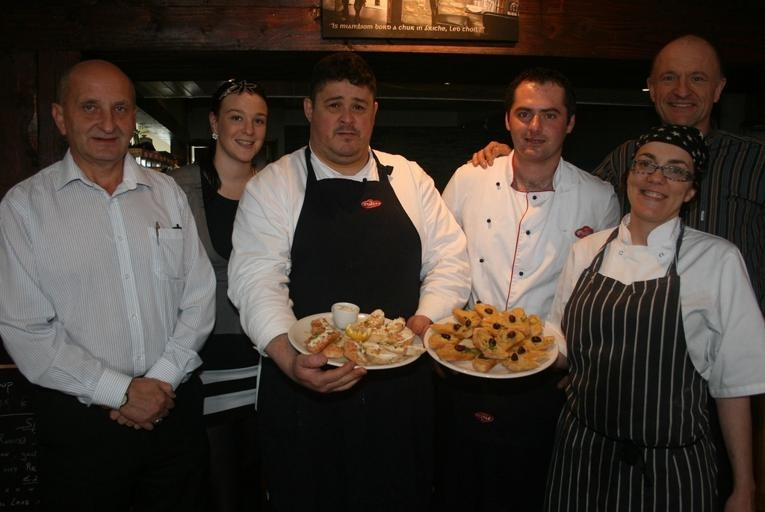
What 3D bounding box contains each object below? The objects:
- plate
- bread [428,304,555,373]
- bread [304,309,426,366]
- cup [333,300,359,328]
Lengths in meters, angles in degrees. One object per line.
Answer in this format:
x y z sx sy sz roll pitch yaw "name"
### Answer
0.092 0.428 2.425 0.865 0.047 0.488 2 12 2 "plate"
0.490 0.389 2.506 0.380 0.073 0.370 5 25 16 "bread"
-0.083 0.350 2.421 0.510 0.134 0.338 0 21 3 "bread"
-0.173 0.267 2.535 0.108 0.081 0.109 3 3 0 "cup"
